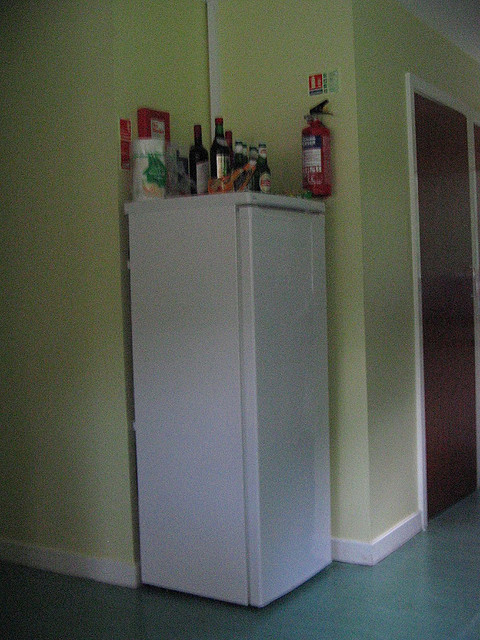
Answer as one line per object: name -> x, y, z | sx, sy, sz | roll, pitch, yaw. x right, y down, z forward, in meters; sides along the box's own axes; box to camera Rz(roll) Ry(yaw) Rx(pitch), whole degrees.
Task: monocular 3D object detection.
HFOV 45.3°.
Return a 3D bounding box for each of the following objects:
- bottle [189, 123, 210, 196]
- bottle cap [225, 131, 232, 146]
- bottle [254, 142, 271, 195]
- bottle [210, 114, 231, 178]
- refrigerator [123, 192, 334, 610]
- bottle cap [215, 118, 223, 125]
bottle -> -0.167, -0.640, 2.347 | 0.080, 0.277, 0.204 | -1, -1, -4
bottle cap -> -0.045, -0.711, 2.256 | 0.025, 0.047, 0.038 | 0, -1, -12
bottle -> 0.083, -0.575, 2.194 | 0.057, 0.206, 0.139 | -1, -1, 1
bottle -> -0.082, -0.677, 2.291 | 0.079, 0.247, 0.125 | 0, -1, -19
refrigerator -> -0.063, 0.253, 2.239 | 0.537, 1.481, 0.681 | 4, 7, 39
bottle cap -> -0.082, -0.780, 2.272 | 0.026, 0.030, 0.029 | 1, 5, 11
